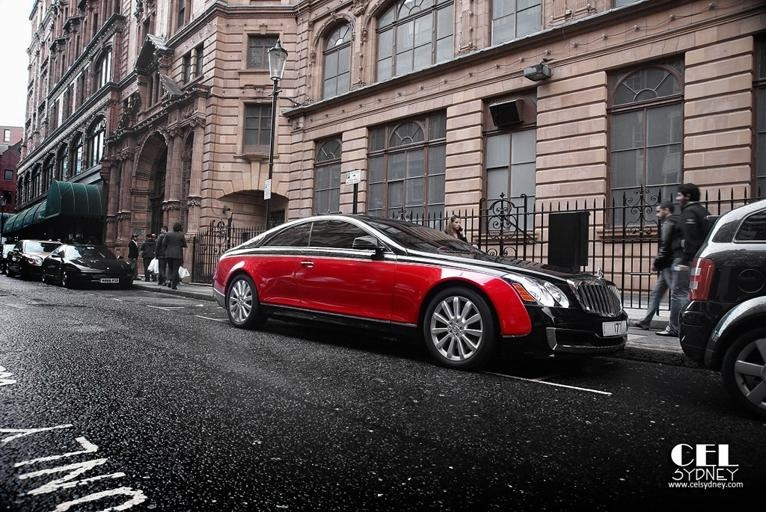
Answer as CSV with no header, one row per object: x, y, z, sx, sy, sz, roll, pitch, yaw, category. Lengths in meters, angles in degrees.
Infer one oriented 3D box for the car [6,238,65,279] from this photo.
-15.148,0.003,23.160,1.782,1.456,4.242,5,-6,-40,car

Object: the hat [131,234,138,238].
-14.289,-1.126,30.475,0.245,0.273,0.281,2,20,-15,hat

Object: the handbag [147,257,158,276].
-9.186,0.407,21.184,0.616,0.728,0.389,9,-3,41,handbag

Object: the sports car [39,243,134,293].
-10.397,0.339,18.456,1.641,0.961,3.085,5,-2,-42,sports car
